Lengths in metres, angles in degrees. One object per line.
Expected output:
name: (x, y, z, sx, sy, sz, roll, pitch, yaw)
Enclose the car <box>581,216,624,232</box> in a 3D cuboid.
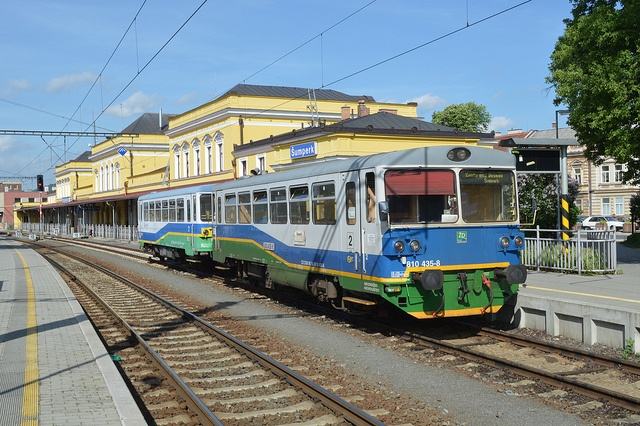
car: (24.579, 0.900, 47.256, 2.426, 0.984, 1.282, -2, -1, 14)
